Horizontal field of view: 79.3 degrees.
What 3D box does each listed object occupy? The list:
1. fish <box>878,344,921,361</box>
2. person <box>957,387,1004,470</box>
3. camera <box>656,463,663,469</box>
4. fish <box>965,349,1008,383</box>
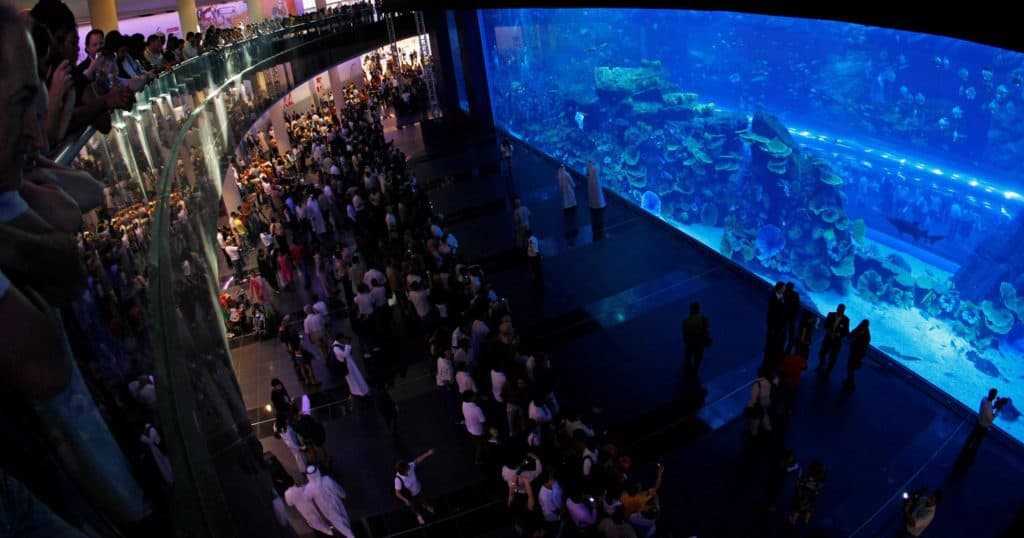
[{"bbox_3d":[8.967,1.945,14.394,0.312,0.116,0.903,-16,23,-29],"label":"fish"},{"bbox_3d":[9.439,3.124,12.403,1.269,1.585,0.377,-18,25,-30],"label":"person"},{"bbox_3d":[3.081,4.086,12.867,0.076,0.067,0.092,3,7,10],"label":"camera"},{"bbox_3d":[10.210,2.055,13.386,0.856,0.268,0.297,41,14,27],"label":"fish"}]
